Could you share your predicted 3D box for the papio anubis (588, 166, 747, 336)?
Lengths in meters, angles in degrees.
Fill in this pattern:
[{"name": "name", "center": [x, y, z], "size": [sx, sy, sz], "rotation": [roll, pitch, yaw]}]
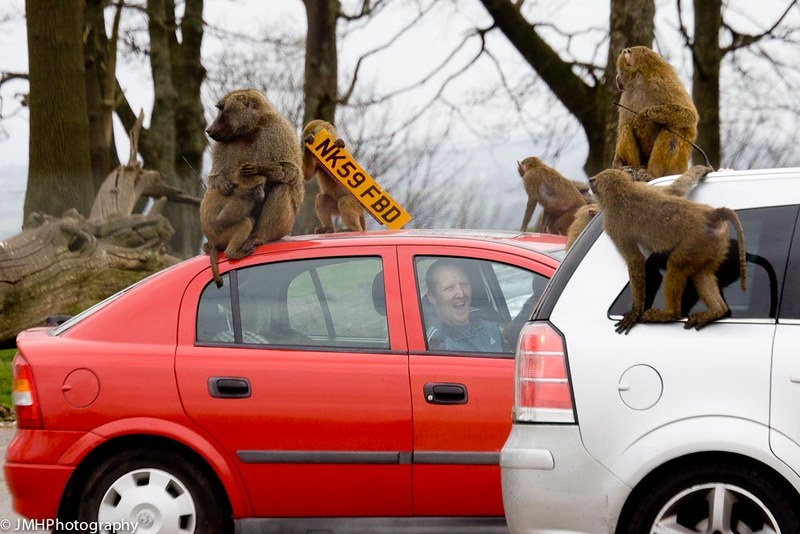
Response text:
[{"name": "papio anubis", "center": [1.784, -0.121, 7.711], "size": [1.109, 1.187, 0.387], "rotation": [4, 18, 35]}]
